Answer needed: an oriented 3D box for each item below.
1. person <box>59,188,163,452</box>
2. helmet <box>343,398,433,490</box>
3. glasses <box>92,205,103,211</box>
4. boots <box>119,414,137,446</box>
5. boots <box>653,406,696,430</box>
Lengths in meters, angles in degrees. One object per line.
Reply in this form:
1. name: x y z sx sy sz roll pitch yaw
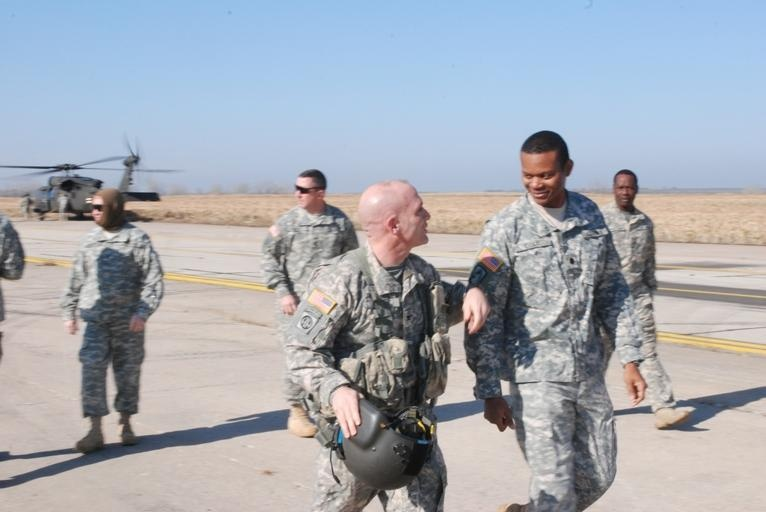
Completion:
1. person: -2.422 0.546 6.083 0.876 2.304 0.891 -4 14 -19
2. helmet: 0.055 0.926 3.378 0.409 0.468 0.246 -7 15 -32
3. glasses: -2.582 -0.437 6.076 0.078 0.035 0.074 -3 6 -38
4. boots: -2.311 1.568 6.070 0.226 0.235 0.079 -1 -12 -22
5. boots: 2.739 1.564 6.537 0.461 0.196 0.146 -26 20 37
